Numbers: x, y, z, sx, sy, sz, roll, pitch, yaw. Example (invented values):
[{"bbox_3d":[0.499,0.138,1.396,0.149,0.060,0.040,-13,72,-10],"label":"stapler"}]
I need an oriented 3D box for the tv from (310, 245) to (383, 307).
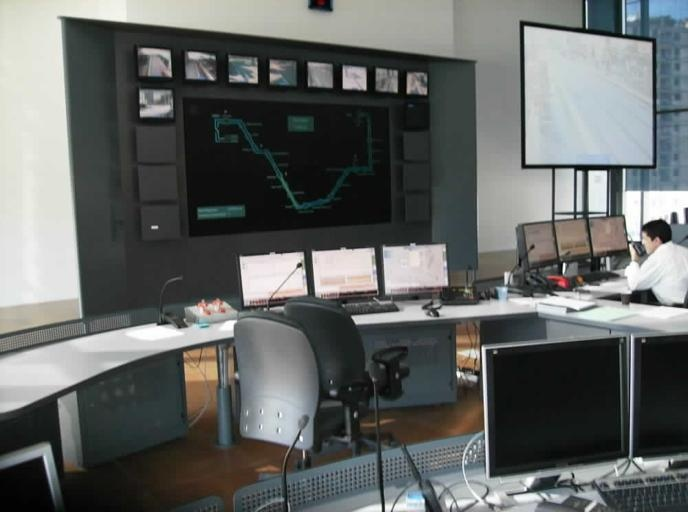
[{"bbox_3d":[0.007,0.145,4.377,0.383,0.343,0.028,-1,-2,-17],"label":"tv"}]

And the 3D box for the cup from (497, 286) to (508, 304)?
[{"bbox_3d":[1.153,0.281,4.610,0.084,0.104,0.093,-1,1,-9],"label":"cup"}]

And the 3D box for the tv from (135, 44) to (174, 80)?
[{"bbox_3d":[-1.543,-1.557,5.054,0.284,0.263,0.039,-1,2,-30],"label":"tv"}]

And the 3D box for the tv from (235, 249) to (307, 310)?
[{"bbox_3d":[-0.477,0.166,4.224,0.394,0.315,0.041,-3,1,-19],"label":"tv"}]

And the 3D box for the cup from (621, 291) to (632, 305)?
[{"bbox_3d":[1.956,0.290,4.350,0.088,0.093,0.085,0,-2,0],"label":"cup"}]

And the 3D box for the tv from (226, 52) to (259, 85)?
[{"bbox_3d":[-0.887,-1.609,5.405,0.262,0.235,0.028,-5,8,-30],"label":"tv"}]

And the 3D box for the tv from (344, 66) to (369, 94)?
[{"bbox_3d":[0.105,-1.657,5.906,0.247,0.219,0.027,4,-9,-37],"label":"tv"}]

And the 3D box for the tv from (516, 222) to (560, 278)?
[{"bbox_3d":[1.504,-0.052,4.863,0.415,0.324,0.056,-4,-2,-39],"label":"tv"}]

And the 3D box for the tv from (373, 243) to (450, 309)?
[{"bbox_3d":[0.490,0.143,4.536,0.418,0.379,0.059,-2,3,-8],"label":"tv"}]

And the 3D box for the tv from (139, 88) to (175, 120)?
[{"bbox_3d":[-1.537,-1.234,5.099,0.249,0.223,0.035,-2,4,-28],"label":"tv"}]

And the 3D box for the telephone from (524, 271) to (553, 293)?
[{"bbox_3d":[1.463,0.200,4.712,0.161,0.125,0.062,10,14,31],"label":"telephone"}]

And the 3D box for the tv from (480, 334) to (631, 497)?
[{"bbox_3d":[0.823,0.616,2.425,0.546,0.514,0.089,-2,-1,-9],"label":"tv"}]

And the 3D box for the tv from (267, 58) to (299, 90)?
[{"bbox_3d":[-0.559,-1.621,5.580,0.269,0.209,0.035,-6,7,-35],"label":"tv"}]
